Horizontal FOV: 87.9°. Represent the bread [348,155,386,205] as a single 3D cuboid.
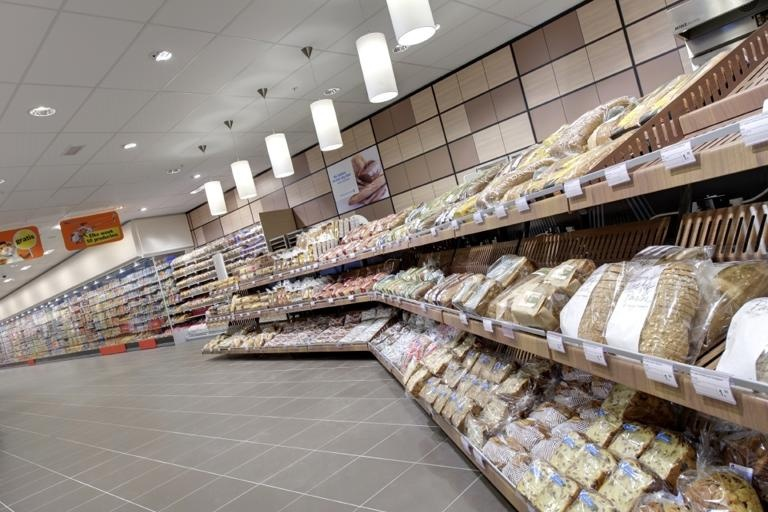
[{"bbox_3d":[-0.327,-1.534,8.480,0.829,1.010,0.446,21,35,27],"label":"bread"}]
